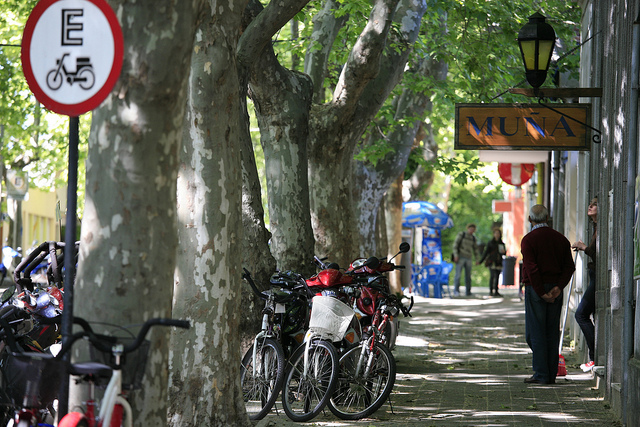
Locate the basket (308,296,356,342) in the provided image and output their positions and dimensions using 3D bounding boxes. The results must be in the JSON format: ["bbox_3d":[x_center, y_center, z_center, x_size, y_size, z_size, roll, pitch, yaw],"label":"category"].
[{"bbox_3d":[0.156,1.494,11.803,0.588,0.445,0.800,2,-35,10],"label":"basket"}]

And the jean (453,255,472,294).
[{"bbox_3d":[4.288,1.823,28.167,0.543,1.552,0.361,-3,28,-2],"label":"jean"}]

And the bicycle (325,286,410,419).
[{"bbox_3d":[0.547,1.698,11.686,0.848,1.666,0.601,0,-11,5],"label":"bicycle"}]

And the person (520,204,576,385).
[{"bbox_3d":[3.273,1.310,13.454,0.700,2.212,0.583,-2,-11,12],"label":"person"}]

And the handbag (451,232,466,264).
[{"bbox_3d":[4.085,1.033,27.763,0.487,0.860,0.270,-9,-15,40],"label":"handbag"}]

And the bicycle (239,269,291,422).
[{"bbox_3d":[-0.693,1.619,11.602,0.590,1.857,0.529,1,-11,-2],"label":"bicycle"}]

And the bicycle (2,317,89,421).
[{"bbox_3d":[-2.629,1.449,8.814,0.718,0.989,2.377,4,-14,-17],"label":"bicycle"}]
